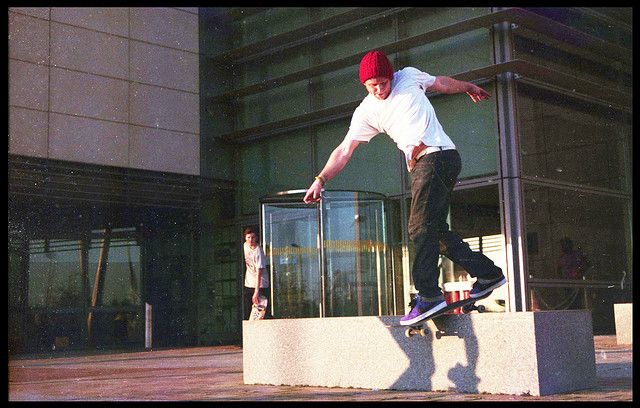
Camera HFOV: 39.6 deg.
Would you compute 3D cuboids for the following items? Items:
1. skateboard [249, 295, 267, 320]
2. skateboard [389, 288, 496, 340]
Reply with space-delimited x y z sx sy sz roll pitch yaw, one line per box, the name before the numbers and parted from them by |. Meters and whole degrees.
skateboard | -1.314 2.308 19.303 0.336 0.619 0.203 0 -14 31
skateboard | 2.208 1.928 15.377 1.732 0.271 0.430 -24 5 -1
